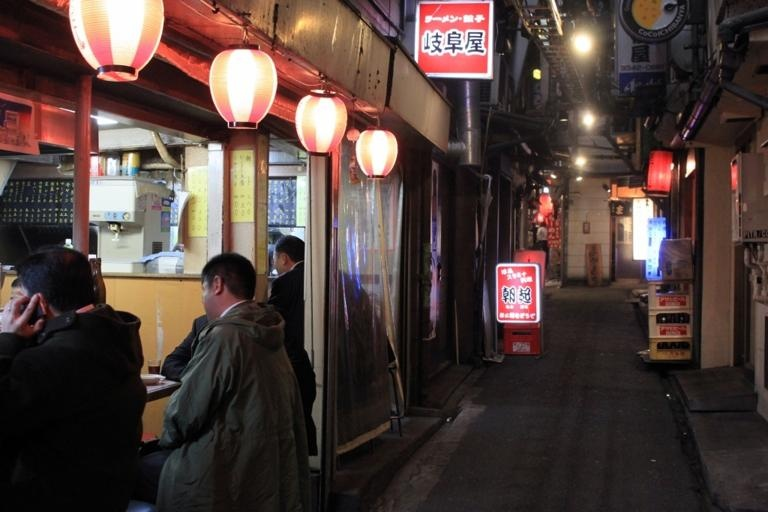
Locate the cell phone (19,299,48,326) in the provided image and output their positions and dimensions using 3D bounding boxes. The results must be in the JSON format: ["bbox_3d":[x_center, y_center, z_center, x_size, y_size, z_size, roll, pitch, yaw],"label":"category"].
[{"bbox_3d":[-2.390,0.401,4.465,0.049,0.138,0.100,13,3,36],"label":"cell phone"}]

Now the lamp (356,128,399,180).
[{"bbox_3d":[-0.113,-1.367,8.572,0.843,0.657,0.869,1,13,6],"label":"lamp"}]

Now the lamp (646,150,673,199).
[{"bbox_3d":[6.987,-2.126,16.450,0.598,1.144,0.460,2,4,16],"label":"lamp"}]

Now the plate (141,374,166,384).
[{"bbox_3d":[-2.257,1.207,6.324,0.175,0.135,0.179,2,-2,-4],"label":"plate"}]

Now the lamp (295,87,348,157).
[{"bbox_3d":[-0.667,-1.431,6.865,0.503,0.692,0.235,0,4,-4],"label":"lamp"}]

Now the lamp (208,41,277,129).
[{"bbox_3d":[-1.140,-1.508,5.865,0.636,0.728,0.651,0,1,3],"label":"lamp"}]
